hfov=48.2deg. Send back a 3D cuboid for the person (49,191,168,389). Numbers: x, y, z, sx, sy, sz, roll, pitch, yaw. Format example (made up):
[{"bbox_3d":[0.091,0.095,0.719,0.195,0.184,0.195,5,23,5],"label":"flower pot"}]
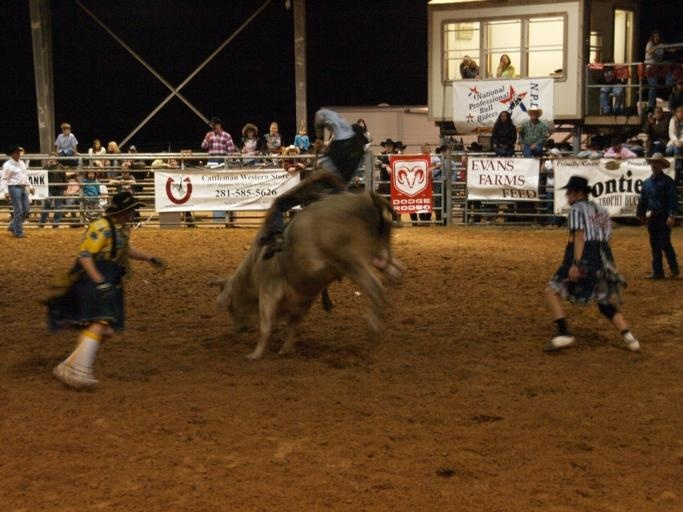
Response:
[{"bbox_3d":[-2.842,0.387,8.702,1.091,2.232,0.507,-3,8,-12],"label":"person"}]

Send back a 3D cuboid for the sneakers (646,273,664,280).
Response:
[{"bbox_3d":[5.481,0.354,13.330,0.267,0.103,0.106,-1,24,15],"label":"sneakers"}]

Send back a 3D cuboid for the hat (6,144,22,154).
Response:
[{"bbox_3d":[-7.299,-2.358,16.928,0.241,0.219,1.115,-4,7,-25],"label":"hat"}]

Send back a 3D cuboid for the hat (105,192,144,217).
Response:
[{"bbox_3d":[-2.520,-0.609,8.707,0.372,0.263,0.239,-3,7,-16],"label":"hat"}]

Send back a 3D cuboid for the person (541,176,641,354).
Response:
[{"bbox_3d":[3.250,0.104,9.835,1.111,2.277,1.091,2,8,20],"label":"person"}]

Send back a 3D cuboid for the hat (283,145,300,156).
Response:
[{"bbox_3d":[-1.338,-2.693,19.590,0.366,0.155,0.478,-1,4,-8],"label":"hat"}]

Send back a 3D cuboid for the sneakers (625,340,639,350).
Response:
[{"bbox_3d":[3.783,1.165,9.940,0.133,0.141,0.162,8,6,0],"label":"sneakers"}]

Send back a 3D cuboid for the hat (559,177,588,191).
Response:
[{"bbox_3d":[2.927,-0.894,9.439,0.280,0.195,0.296,1,7,15],"label":"hat"}]

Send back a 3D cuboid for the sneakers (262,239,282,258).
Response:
[{"bbox_3d":[-0.835,-0.115,9.416,0.228,0.122,0.399,-34,9,9],"label":"sneakers"}]
